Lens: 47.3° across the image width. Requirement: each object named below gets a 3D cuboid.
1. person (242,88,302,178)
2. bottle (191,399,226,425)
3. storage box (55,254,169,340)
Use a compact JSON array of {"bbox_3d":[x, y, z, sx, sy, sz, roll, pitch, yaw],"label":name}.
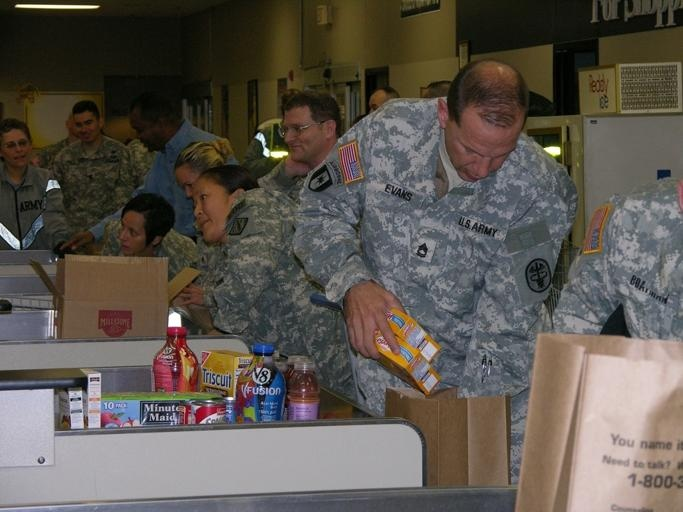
[{"bbox_3d":[-0.713,-1.187,7.165,0.657,0.981,0.317,5,1,-37],"label":"person"},{"bbox_3d":[-0.340,0.395,1.964,0.065,0.071,0.070,-2,-9,19],"label":"bottle"},{"bbox_3d":[-0.922,0.168,3.120,0.348,0.291,0.359,1,-2,-13],"label":"storage box"}]
